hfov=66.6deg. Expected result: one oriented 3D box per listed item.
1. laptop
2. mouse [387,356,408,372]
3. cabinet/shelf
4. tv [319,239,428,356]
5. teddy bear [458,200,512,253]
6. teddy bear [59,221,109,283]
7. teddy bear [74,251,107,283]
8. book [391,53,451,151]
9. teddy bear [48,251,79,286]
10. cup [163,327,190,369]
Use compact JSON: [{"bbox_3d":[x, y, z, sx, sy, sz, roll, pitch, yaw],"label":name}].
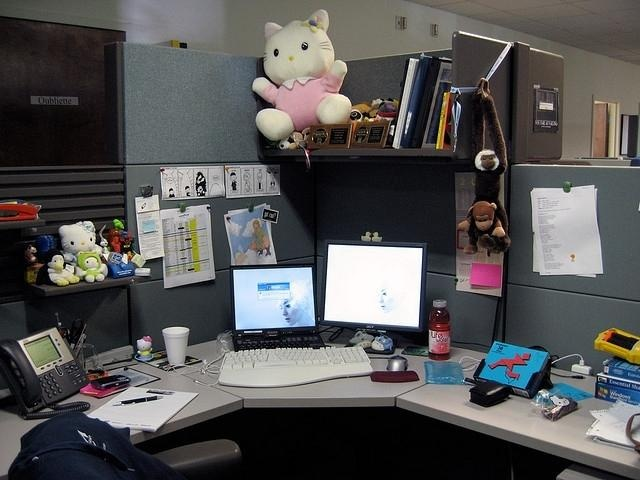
[{"bbox_3d":[-0.195,0.279,2.106,0.438,0.385,0.322,-1,-1,-10],"label":"laptop"},{"bbox_3d":[0.302,0.469,1.887,0.058,0.072,0.061,20,-10,-20],"label":"mouse"},{"bbox_3d":[0.342,-0.552,1.924,0.772,0.453,0.274,5,12,24],"label":"cabinet/shelf"},{"bbox_3d":[0.234,0.245,2.084,0.440,0.435,0.147,2,-4,15],"label":"tv"},{"bbox_3d":[0.638,-0.045,1.876,0.176,0.201,0.111,1,11,37],"label":"teddy bear"},{"bbox_3d":[-0.856,0.046,1.763,0.141,0.231,0.160,-3,5,19],"label":"teddy bear"},{"bbox_3d":[-0.831,0.098,1.759,0.105,0.114,0.087,-5,5,-42],"label":"teddy bear"},{"bbox_3d":[0.386,-0.536,1.877,0.076,0.322,0.307,12,9,38],"label":"book"},{"bbox_3d":[-0.898,0.100,1.731,0.100,0.124,0.098,5,7,23],"label":"teddy bear"},{"bbox_3d":[-0.564,0.423,1.899,0.129,0.145,0.130,-1,-2,0],"label":"cup"}]
